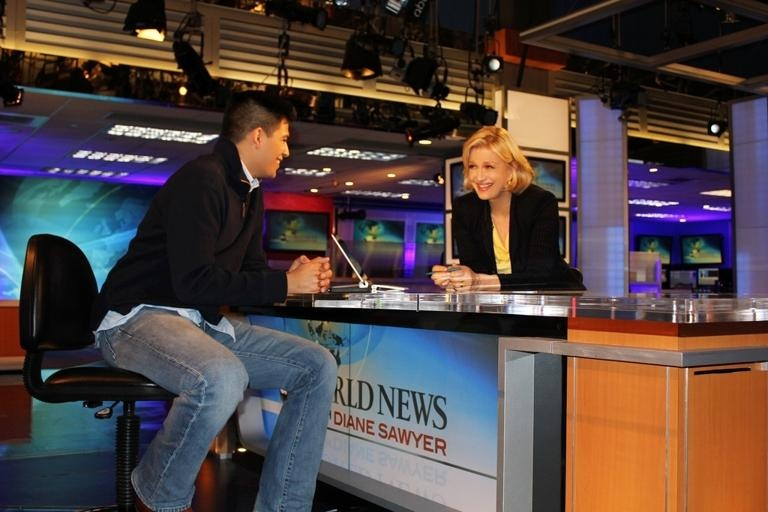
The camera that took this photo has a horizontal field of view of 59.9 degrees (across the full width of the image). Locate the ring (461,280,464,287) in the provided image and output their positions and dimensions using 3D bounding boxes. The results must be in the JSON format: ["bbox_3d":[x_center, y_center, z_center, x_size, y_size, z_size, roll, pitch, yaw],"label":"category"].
[{"bbox_3d":[0.422,0.153,3.580,0.023,0.029,0.024,2,-7,0],"label":"ring"}]

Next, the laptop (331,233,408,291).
[{"bbox_3d":[-0.063,0.036,3.587,0.452,0.294,0.287,4,3,-1],"label":"laptop"}]

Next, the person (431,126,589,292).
[{"bbox_3d":[0.634,-0.207,4.213,1.157,1.082,0.810,4,-8,-38],"label":"person"}]

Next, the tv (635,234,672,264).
[{"bbox_3d":[6.405,-0.210,15.847,0.943,0.743,0.093,-2,4,-13],"label":"tv"}]

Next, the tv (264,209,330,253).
[{"bbox_3d":[-2.015,-0.534,14.907,1.693,0.970,0.134,-1,6,-40],"label":"tv"}]
